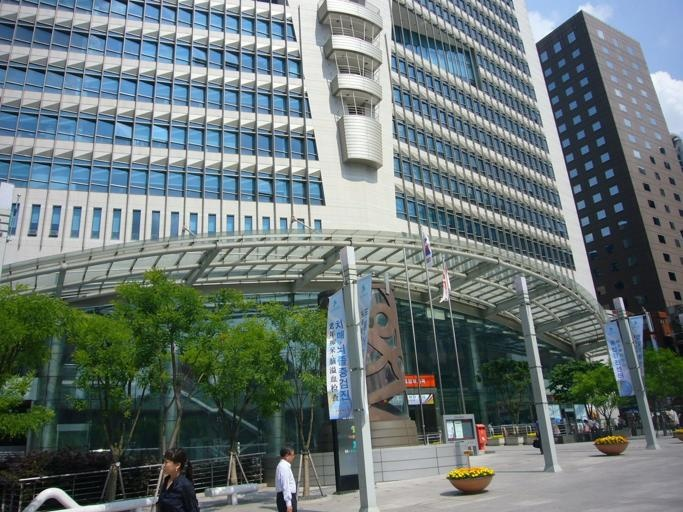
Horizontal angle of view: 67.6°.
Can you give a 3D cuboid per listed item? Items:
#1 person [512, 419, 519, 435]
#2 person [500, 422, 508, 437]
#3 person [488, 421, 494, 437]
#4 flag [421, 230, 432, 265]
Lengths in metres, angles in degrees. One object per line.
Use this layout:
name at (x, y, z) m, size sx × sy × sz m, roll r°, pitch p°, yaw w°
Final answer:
person at (16.840, 16.548, 49.200) m, size 0.719 × 1.156 × 0.696 m, roll 28°, pitch -56°, yaw -20°
person at (15.653, 16.481, 48.615) m, size 0.541 × 1.148 × 1.653 m, roll -15°, pitch -20°, yaw 21°
person at (14.244, 16.355, 48.235) m, size 0.767 × 1.181 × 0.322 m, roll 4°, pitch -23°, yaw -26°
flag at (5.956, -0.681, 35.144) m, size 0.552 × 2.612 × 2.058 m, roll -10°, pitch -20°, yaw 9°
